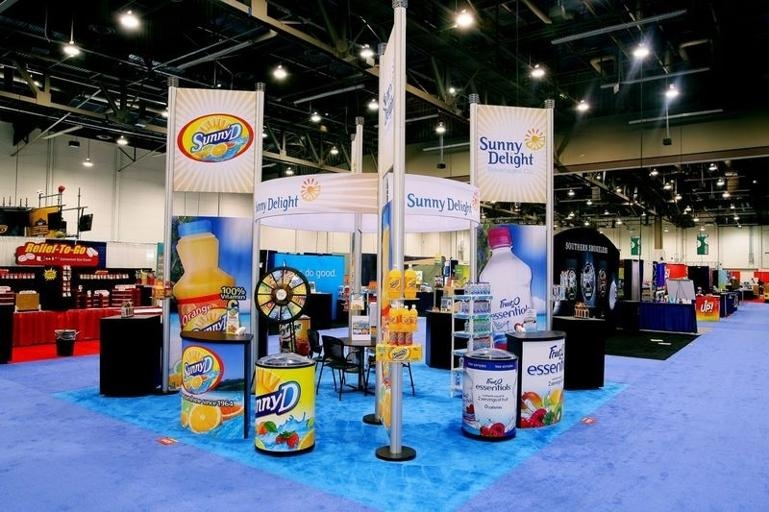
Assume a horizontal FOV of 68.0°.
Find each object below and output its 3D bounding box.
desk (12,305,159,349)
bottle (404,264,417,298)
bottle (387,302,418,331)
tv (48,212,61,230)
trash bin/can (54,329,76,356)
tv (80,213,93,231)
[{"bbox_3d":[-7.138,1.604,13.131,2.858,0.656,0.548,1,-6,-44],"label":"desk"},{"bbox_3d":[0.328,0.378,7.369,0.143,0.427,0.349,2,8,7],"label":"bottle"},{"bbox_3d":[0.235,0.775,7.314,0.279,0.502,0.298,0,-1,0],"label":"bottle"},{"bbox_3d":[-9.155,-0.972,15.846,0.451,0.529,0.069,-4,-8,4],"label":"tv"},{"bbox_3d":[-6.419,1.736,11.484,0.483,0.565,0.453,2,-13,-20],"label":"trash bin/can"},{"bbox_3d":[-9.020,-1.036,17.235,0.563,0.606,0.065,0,-3,20],"label":"tv"}]
